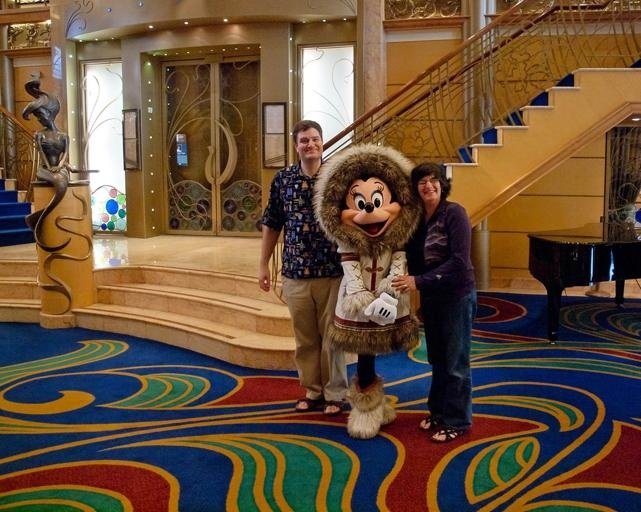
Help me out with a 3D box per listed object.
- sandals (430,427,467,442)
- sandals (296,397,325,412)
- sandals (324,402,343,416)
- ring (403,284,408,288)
[{"bbox_3d":[0.799,1.105,3.310,0.220,0.090,0.085,1,-3,-16],"label":"sandals"},{"bbox_3d":[-0.067,1.048,3.709,0.216,0.086,0.081,5,-4,-25],"label":"sandals"},{"bbox_3d":[0.082,1.052,3.628,0.066,0.060,0.122,0,6,11],"label":"sandals"},{"bbox_3d":[0.490,0.178,3.077,0.025,0.015,0.018,-6,26,2],"label":"ring"}]
